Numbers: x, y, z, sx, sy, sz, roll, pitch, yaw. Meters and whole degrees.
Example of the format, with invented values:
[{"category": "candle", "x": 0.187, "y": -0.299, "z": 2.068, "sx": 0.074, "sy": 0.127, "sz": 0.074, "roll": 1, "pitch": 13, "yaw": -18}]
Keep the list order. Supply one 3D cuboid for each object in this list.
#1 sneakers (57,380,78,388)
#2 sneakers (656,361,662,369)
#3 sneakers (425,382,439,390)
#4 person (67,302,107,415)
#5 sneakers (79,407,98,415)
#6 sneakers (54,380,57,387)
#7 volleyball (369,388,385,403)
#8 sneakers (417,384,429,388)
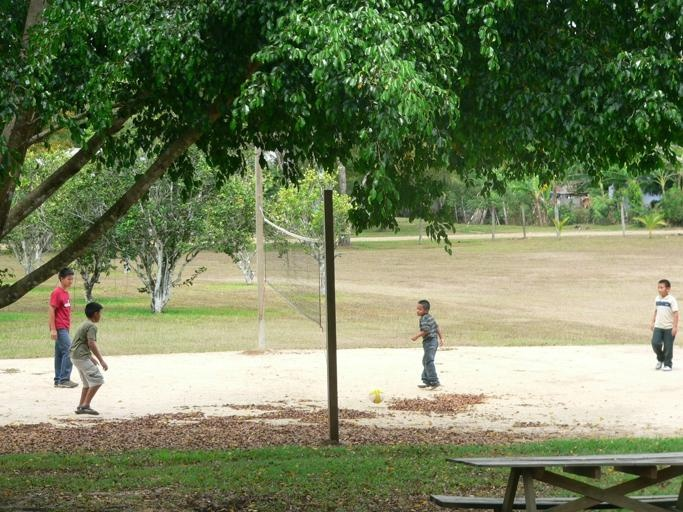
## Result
[{"category": "sneakers", "x": -4.868, "y": 2.232, "z": 21.530, "sx": 0.377, "sy": 0.183, "sz": 0.144, "roll": -2, "pitch": -2, "yaw": -3}, {"category": "sneakers", "x": 6.025, "y": 2.051, "z": 23.043, "sx": 0.127, "sy": 0.170, "sz": 0.392, "roll": -1, "pitch": -4, "yaw": 25}, {"category": "sneakers", "x": 1.583, "y": 2.264, "z": 21.155, "sx": 0.250, "sy": 0.113, "sz": 0.096, "roll": 2, "pitch": -3, "yaw": 7}, {"category": "person", "x": -3.981, "y": 1.593, "z": 19.051, "sx": 0.542, "sy": 1.750, "sz": 1.209, "roll": 0, "pitch": -1, "yaw": -11}, {"category": "sneakers", "x": -3.973, "y": 2.417, "z": 19.110, "sx": 0.298, "sy": 0.135, "sz": 0.110, "roll": 4, "pitch": 4, "yaw": -8}, {"category": "sneakers", "x": -5.065, "y": 2.257, "z": 21.568, "sx": 0.067, "sy": 0.133, "sz": 0.071, "roll": -2, "pitch": -10, "yaw": 2}, {"category": "volleyball", "x": 0.566, "y": 2.252, "z": 19.673, "sx": 0.205, "sy": 0.221, "sz": 0.212, "roll": 0, "pitch": 2, "yaw": 6}, {"category": "sneakers", "x": 1.421, "y": 2.261, "z": 21.277, "sx": 0.165, "sy": 0.078, "sz": 0.064, "roll": 1, "pitch": -16, "yaw": 8}]
